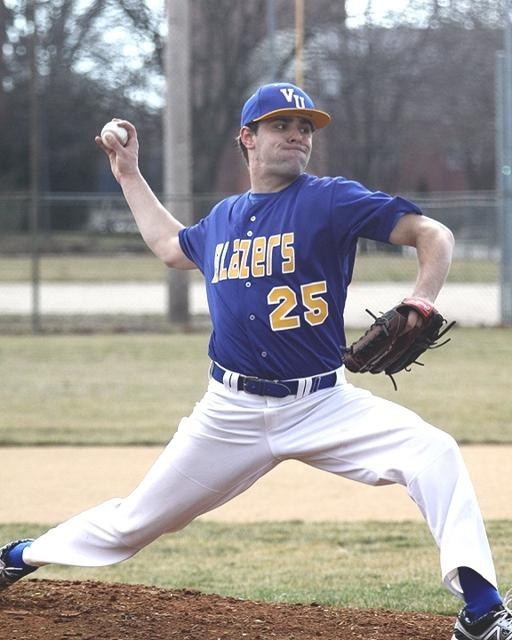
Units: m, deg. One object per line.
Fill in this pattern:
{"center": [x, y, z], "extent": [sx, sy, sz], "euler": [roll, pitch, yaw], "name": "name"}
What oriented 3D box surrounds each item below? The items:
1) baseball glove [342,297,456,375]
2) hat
{"center": [0.567, 0.033, 5.172], "extent": [0.490, 0.169, 0.295], "euler": [-25, 6, 32], "name": "baseball glove"}
{"center": [0.110, -0.893, 5.414], "extent": [0.303, 0.179, 0.411], "euler": [-4, 1, -33], "name": "hat"}
